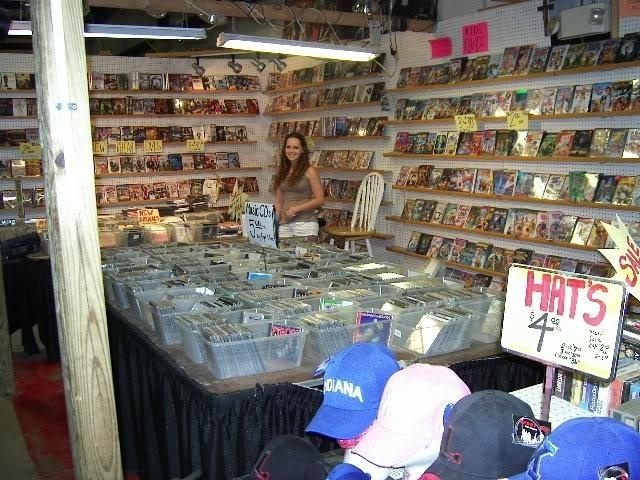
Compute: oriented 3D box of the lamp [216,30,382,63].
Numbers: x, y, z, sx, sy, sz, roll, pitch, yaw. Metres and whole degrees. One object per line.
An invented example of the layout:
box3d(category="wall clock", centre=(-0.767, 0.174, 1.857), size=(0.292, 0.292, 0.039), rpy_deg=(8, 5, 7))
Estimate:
box3d(category="lamp", centre=(-0.193, -1.865, 4.219), size=(1.537, 0.153, 0.346), rpy_deg=(-5, 12, -26))
